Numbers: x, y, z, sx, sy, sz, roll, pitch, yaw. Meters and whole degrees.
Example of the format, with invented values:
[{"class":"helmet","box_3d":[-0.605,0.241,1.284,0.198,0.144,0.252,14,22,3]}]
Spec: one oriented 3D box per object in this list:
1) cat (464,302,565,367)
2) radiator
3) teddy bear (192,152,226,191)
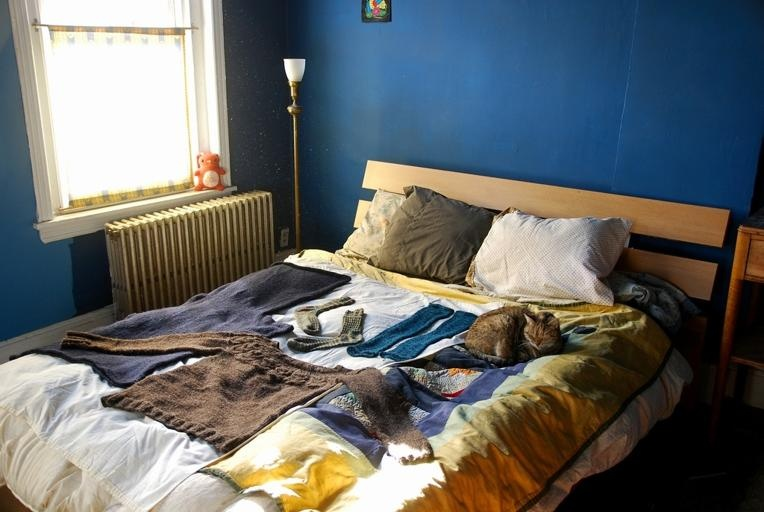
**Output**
[{"class":"cat","box_3d":[0.583,0.342,2.572,0.326,0.159,0.266,-7,19,-8]},{"class":"radiator","box_3d":[-1.264,-0.009,3.592,0.781,0.695,0.129,-16,27,-38]},{"class":"teddy bear","box_3d":[-1.215,-0.604,4.056,0.222,0.266,0.183,-5,4,-7]}]
